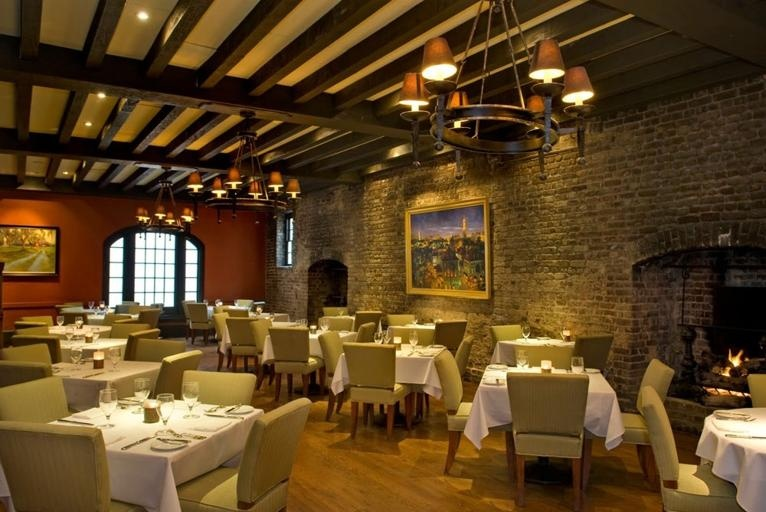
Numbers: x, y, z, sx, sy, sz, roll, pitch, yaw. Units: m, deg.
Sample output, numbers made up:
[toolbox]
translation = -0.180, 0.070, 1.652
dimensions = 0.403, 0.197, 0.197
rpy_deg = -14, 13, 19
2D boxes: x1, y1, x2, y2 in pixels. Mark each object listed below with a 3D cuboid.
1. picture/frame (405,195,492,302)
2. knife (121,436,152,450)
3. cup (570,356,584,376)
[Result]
[picture/frame]
translation = 1.319, -0.143, 10.246
dimensions = 0.096, 1.793, 2.228
rpy_deg = 1, -3, -39
[knife]
translation = -2.000, 1.534, 4.367
dimensions = 0.054, 0.015, 0.223
rpy_deg = 5, 3, 14
[cup]
translation = 2.304, 1.290, 6.279
dimensions = 0.183, 0.234, 0.178
rpy_deg = -1, -5, 0
